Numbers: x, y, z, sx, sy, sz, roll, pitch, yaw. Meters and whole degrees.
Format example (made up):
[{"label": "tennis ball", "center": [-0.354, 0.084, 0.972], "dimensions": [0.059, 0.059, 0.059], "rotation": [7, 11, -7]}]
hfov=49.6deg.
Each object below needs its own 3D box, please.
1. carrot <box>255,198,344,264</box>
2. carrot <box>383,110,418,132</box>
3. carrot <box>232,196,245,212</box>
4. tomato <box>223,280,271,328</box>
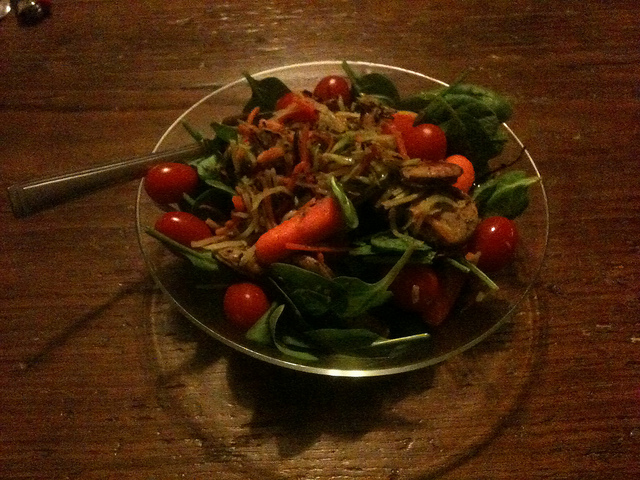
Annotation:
[{"label": "carrot", "center": [-0.058, -0.021, 1.794], "dimensions": [0.253, 0.165, 0.095], "rotation": [-28, 69, -19]}, {"label": "carrot", "center": [0.228, -0.334, 1.933], "dimensions": [0.116, 0.036, 0.072], "rotation": [-1, 27, 2]}, {"label": "carrot", "center": [-0.216, -0.096, 1.840], "dimensions": [0.039, 0.037, 0.017], "rotation": [1, 21, -7]}, {"label": "tomato", "center": [-0.203, 0.160, 1.818], "dimensions": [0.200, 0.113, 0.136], "rotation": [-4, 20, -8]}]
